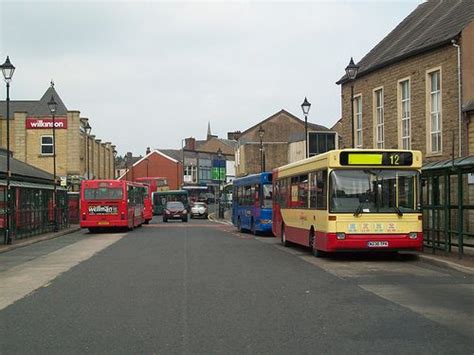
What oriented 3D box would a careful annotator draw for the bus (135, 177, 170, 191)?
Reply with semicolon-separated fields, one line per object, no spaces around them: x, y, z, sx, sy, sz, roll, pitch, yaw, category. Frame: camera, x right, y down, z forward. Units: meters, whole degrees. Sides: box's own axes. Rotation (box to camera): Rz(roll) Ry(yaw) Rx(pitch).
-10.748;0.926;69.676;1.639;2.170;4.734;-6;-7;42;bus

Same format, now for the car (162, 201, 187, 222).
-5.674;3.196;49.486;2.077;1.778;2.734;0;-3;-9;car

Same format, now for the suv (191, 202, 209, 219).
-3.978;3.611;58.077;1.794;1.688;2.148;-1;-3;-3;suv

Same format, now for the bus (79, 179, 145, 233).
-8.244;2.002;36.758;3.643;3.250;9.722;0;-3;-9;bus
